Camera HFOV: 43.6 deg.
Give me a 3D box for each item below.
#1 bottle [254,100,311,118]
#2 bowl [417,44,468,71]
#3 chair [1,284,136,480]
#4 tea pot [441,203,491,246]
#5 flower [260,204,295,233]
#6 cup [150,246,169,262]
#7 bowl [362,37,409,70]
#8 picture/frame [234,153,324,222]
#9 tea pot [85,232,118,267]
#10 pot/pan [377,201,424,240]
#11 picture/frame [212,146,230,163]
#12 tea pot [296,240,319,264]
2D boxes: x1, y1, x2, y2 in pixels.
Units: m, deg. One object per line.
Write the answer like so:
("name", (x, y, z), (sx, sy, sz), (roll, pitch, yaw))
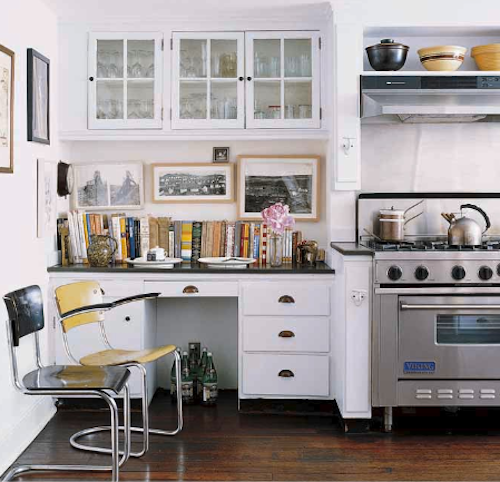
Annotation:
("bottle", (0.202, -0.771, 3.736), (0.240, 0.074, 0.134), (0, 4, -3))
("bowl", (1.092, -1.026, 3.542), (0.258, 0.148, 0.128), (3, 10, 14))
("chair", (-0.859, 0.648, 2.901), (0.660, 0.866, 0.613), (1, 9, 6))
("tea pot", (1.173, -0.092, 3.500), (0.330, 0.316, 0.235), (3, 0, 17))
("flower", (0.170, -0.143, 3.817), (0.188, 0.194, 0.318), (1, 10, 3))
("cup", (-0.544, 0.075, 3.706), (0.067, 0.064, 0.091), (-2, -5, 35))
("bowl", (0.806, -1.073, 3.606), (0.263, 0.193, 0.274), (2, 9, 0))
("picture/frame", (0.193, -0.340, 3.929), (0.441, 0.342, 0.016), (0, 2, 3))
("tea pot", (-0.872, 0.052, 3.699), (0.193, 0.195, 0.151), (0, -2, 33))
("pot/pan", (0.880, -0.108, 3.710), (0.283, 0.278, 0.169), (0, 0, 8))
("picture/frame", (-0.192, -0.548, 3.971), (0.107, 0.107, 0.011), (1, 0, -2))
("tea pot", (0.346, 0.064, 3.731), (0.115, 0.141, 0.141), (1, 3, 6))
